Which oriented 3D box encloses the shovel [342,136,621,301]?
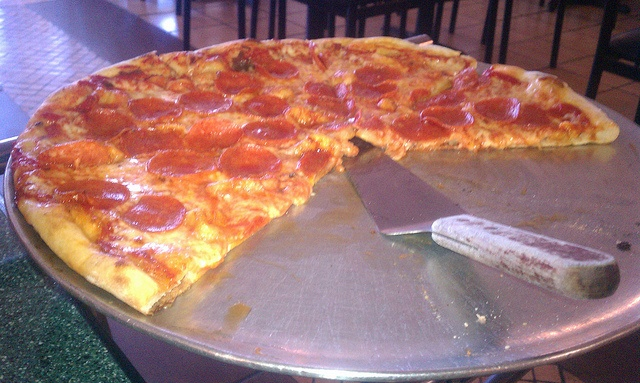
[{"bbox_3d":[0.362,0.051,1.536,0.274,0.067,0.793,-20,25,-24],"label":"shovel"}]
